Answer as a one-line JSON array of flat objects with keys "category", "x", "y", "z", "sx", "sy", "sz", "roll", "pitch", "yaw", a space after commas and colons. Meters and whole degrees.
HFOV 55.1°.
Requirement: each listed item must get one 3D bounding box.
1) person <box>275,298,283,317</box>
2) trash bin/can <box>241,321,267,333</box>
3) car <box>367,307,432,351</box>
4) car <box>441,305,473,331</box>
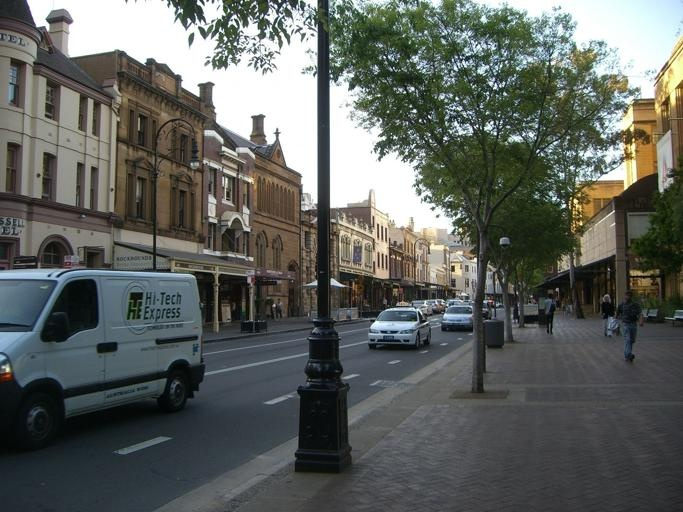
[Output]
[{"category": "person", "x": -4.831, "y": 4.075, "z": 49.985, "sx": 0.421, "sy": 1.300, "sz": 1.301, "roll": -1, "pitch": -5, "yaw": -6}, {"category": "trash bin/can", "x": -4.705, "y": 3.731, "z": 34.689, "sx": 0.712, "sy": 0.521, "sz": 0.798, "roll": -1, "pitch": -2, "yaw": 4}, {"category": "car", "x": 2.280, "y": 2.841, "z": 26.086, "sx": 1.779, "sy": 1.621, "sz": 2.891, "roll": -5, "pitch": -6, "yaw": 25}, {"category": "car", "x": 6.596, "y": 3.558, "z": 37.470, "sx": 1.699, "sy": 1.401, "sz": 2.027, "roll": -3, "pitch": -6, "yaw": 8}]
